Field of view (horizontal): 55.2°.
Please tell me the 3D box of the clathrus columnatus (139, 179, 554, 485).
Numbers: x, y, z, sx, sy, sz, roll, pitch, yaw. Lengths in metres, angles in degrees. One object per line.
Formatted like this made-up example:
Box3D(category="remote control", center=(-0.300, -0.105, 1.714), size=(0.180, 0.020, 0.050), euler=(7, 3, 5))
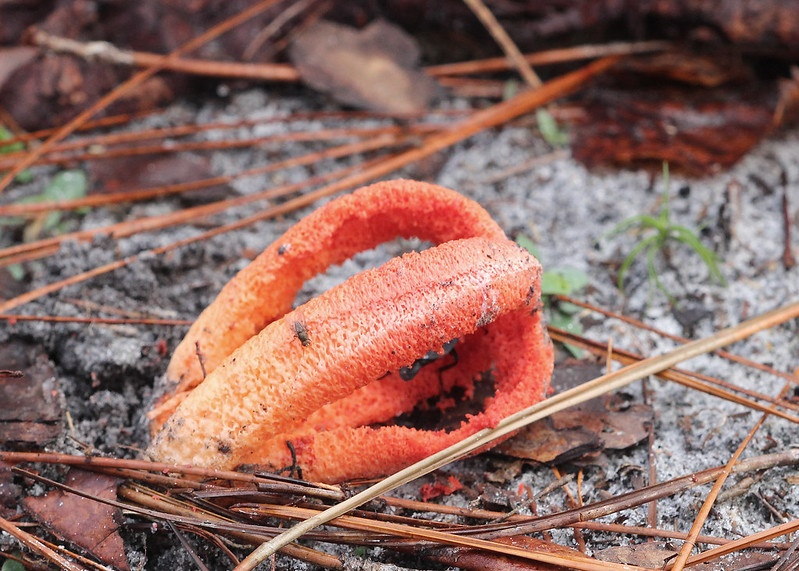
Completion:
Box3D(category="clathrus columnatus", center=(-0.149, 0.137, 1.978), size=(1.047, 0.456, 0.618), euler=(-13, 57, -5))
